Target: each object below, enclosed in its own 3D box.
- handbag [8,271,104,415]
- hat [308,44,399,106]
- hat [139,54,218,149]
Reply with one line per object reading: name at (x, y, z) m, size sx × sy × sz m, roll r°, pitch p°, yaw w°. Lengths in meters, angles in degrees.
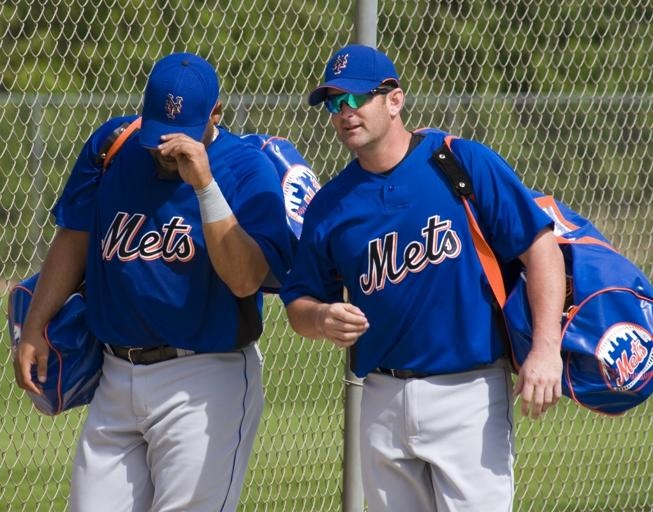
handbag at (-1.460, 0.520, 6.144) m, size 0.481 × 1.182 × 0.735 m, roll 0°, pitch 10°, yaw -16°
hat at (0.128, -0.843, 5.374) m, size 0.341 × 0.215 × 0.245 m, roll -2°, pitch -3°, yaw -45°
hat at (-0.701, -0.727, 5.542) m, size 0.257 × 0.251 × 0.505 m, roll 15°, pitch 66°, yaw -3°
